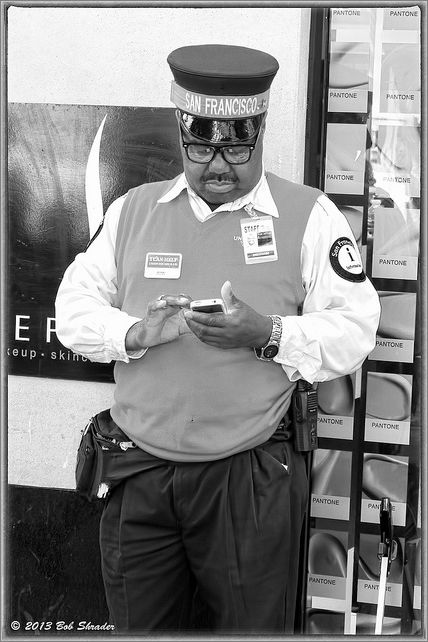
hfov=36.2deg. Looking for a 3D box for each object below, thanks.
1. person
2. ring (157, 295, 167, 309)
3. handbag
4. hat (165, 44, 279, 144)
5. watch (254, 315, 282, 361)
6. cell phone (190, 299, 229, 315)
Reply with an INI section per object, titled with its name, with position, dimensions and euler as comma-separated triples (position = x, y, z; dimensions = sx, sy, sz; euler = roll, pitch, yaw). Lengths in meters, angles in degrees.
[person]
position = -0.025, 0.136, 1.888
dimensions = 0.936, 1.866, 0.463
euler = 2, 9, 21
[ring]
position = -0.134, -0.055, 1.706
dimensions = 0.023, 0.034, 0.011
euler = 6, -33, -21
[handbag]
position = -0.256, 0.436, 2.058
dimensions = 0.382, 0.177, 0.322
euler = -1, 0, -32
[hat]
position = 0.021, -0.659, 1.850
dimensions = 0.300, 0.196, 0.360
euler = 1, 36, -2
[watch]
position = 0.147, 0.043, 1.767
dimensions = 0.066, 0.110, 0.116
euler = 30, 12, 22
[cell phone]
position = -0.012, -0.041, 1.648
dimensions = 0.094, 0.037, 0.067
euler = -2, 9, -9
